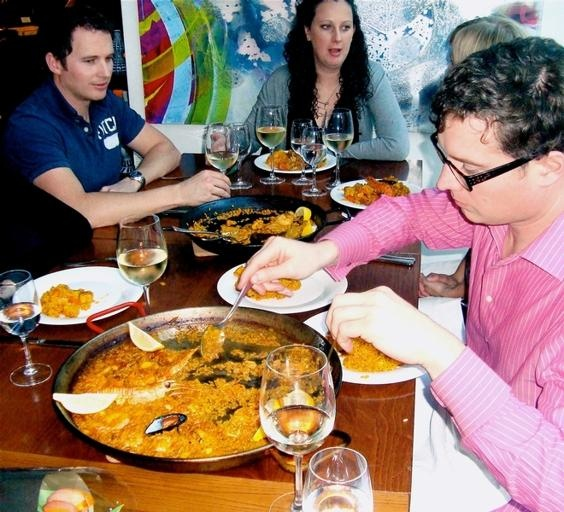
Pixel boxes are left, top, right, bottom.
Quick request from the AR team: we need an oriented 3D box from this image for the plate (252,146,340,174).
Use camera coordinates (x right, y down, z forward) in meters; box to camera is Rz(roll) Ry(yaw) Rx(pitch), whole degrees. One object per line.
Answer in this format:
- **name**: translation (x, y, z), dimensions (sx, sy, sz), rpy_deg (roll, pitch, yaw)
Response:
- **plate**: translation (0.087, -0.517, 2.652), dimensions (0.278, 0.036, 0.260), rpy_deg (-12, 33, -18)

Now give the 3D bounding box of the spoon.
- **spoon**: translation (-0.137, 0.168, 1.232), dimensions (0.052, 0.026, 0.236), rpy_deg (30, 41, 0)

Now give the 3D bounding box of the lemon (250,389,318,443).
- **lemon**: translation (0.016, 0.302, 0.881), dimensions (0.055, 0.140, 0.112), rpy_deg (47, 41, -20)

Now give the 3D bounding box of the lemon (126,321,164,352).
- **lemon**: translation (-0.340, 0.209, 1.173), dimensions (0.091, 0.031, 0.057), rpy_deg (44, 30, 7)

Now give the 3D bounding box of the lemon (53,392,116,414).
- **lemon**: translation (-0.408, 0.305, 0.982), dimensions (0.111, 0.022, 0.041), rpy_deg (10, 30, -32)

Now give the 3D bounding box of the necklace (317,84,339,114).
- **necklace**: translation (0.317, -1.117, 3.321), dimensions (0.171, 0.156, 0.043), rpy_deg (5, 15, 3)
